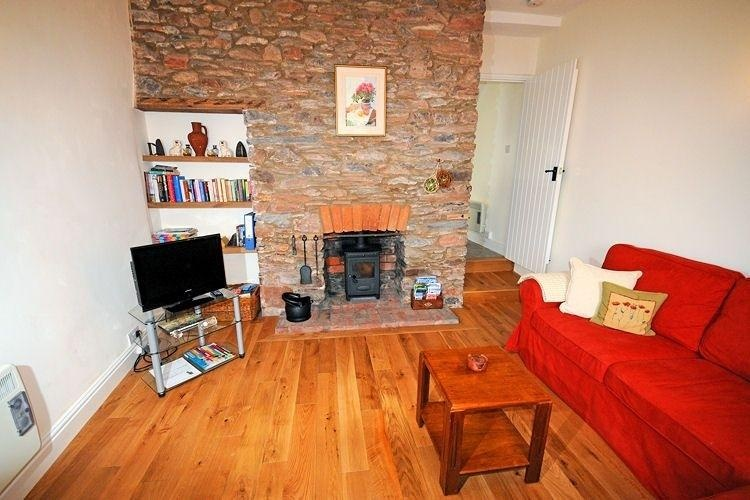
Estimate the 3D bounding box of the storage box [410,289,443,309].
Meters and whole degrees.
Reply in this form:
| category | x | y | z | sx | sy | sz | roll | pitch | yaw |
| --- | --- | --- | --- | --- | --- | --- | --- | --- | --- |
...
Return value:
| category | x | y | z | sx | sy | sz | roll | pitch | yaw |
| --- | --- | --- | --- | --- | --- | --- | --- | --- | --- |
| storage box | 0.576 | 0.590 | 5.182 | 0.377 | 0.149 | 0.181 | -3 | 15 | -2 |

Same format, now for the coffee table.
| category | x | y | z | sx | sy | sz | roll | pitch | yaw |
| --- | --- | --- | --- | --- | --- | --- | --- | --- | --- |
| coffee table | 0.774 | 1.259 | 3.480 | 0.814 | 0.895 | 0.691 | -6 | 16 | -12 |

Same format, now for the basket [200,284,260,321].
| category | x | y | z | sx | sy | sz | roll | pitch | yaw |
| --- | --- | --- | --- | --- | --- | --- | --- | --- | --- |
| basket | -1.521 | 0.578 | 4.973 | 0.611 | 0.225 | 0.385 | -5 | 21 | -15 |

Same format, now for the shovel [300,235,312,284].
| category | x | y | z | sx | sy | sz | roll | pitch | yaw |
| --- | --- | --- | --- | --- | --- | --- | --- | --- | --- |
| shovel | -0.785 | 0.114 | 4.924 | 0.133 | 0.557 | 0.067 | -8 | 18 | -13 |

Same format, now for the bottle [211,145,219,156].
| category | x | y | z | sx | sy | sz | roll | pitch | yaw |
| --- | --- | --- | --- | --- | --- | --- | --- | --- | --- |
| bottle | -1.746 | -1.090 | 4.929 | 0.081 | 0.113 | 0.124 | -8 | 16 | -16 |

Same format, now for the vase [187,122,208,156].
| category | x | y | z | sx | sy | sz | roll | pitch | yaw |
| --- | --- | --- | --- | --- | --- | --- | --- | --- | --- |
| vase | -1.888 | -1.180 | 4.825 | 0.198 | 0.361 | 0.251 | -8 | 16 | -14 |

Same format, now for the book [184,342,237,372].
| category | x | y | z | sx | sy | sz | roll | pitch | yaw |
| --- | --- | --- | --- | --- | --- | --- | --- | --- | --- |
| book | -1.578 | 1.032 | 4.333 | 0.267 | 0.028 | 0.289 | -12 | 23 | -42 |

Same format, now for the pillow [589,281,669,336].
| category | x | y | z | sx | sy | sz | roll | pitch | yaw |
| --- | --- | --- | --- | --- | --- | --- | --- | --- | --- |
| pillow | 2.183 | 0.521 | 3.961 | 0.538 | 0.384 | 0.248 | 14 | 30 | 16 |

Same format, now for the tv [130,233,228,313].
| category | x | y | z | sx | sy | sz | roll | pitch | yaw |
| --- | --- | --- | --- | --- | --- | --- | --- | --- | --- |
| tv | -1.785 | 0.217 | 4.074 | 0.263 | 0.565 | 0.801 | 10 | 19 | 42 |
